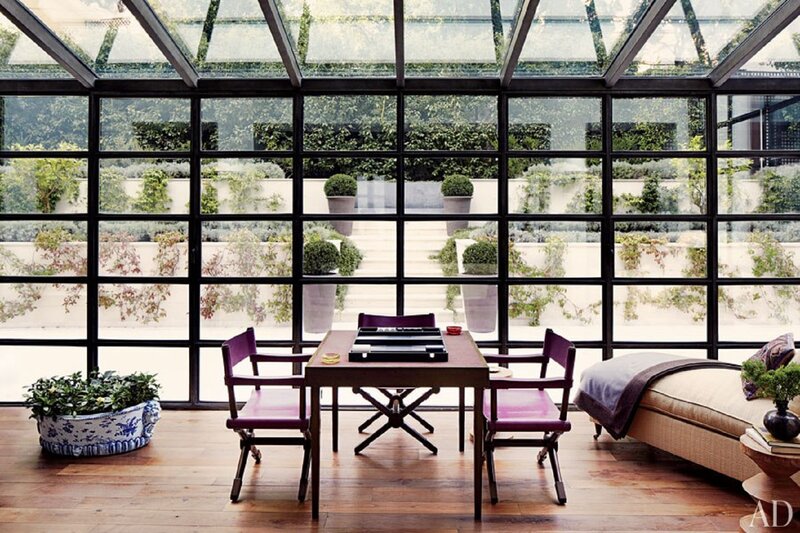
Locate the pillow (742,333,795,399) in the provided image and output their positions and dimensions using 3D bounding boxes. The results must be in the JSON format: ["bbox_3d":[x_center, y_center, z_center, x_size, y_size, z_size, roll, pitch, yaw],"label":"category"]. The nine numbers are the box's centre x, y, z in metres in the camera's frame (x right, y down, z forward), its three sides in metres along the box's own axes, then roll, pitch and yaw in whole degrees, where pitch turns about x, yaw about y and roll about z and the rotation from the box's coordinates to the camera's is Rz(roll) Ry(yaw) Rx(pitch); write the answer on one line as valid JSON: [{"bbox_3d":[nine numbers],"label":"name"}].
[{"bbox_3d":[3.314,0.909,6.730,0.130,0.415,0.430,35,29,-5],"label":"pillow"}]

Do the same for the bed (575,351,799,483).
[{"bbox_3d":[2.665,1.295,7.266,1.108,0.820,1.577,-2,11,-39],"label":"bed"}]

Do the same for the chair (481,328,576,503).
[{"bbox_3d":[1.183,1.352,7.008,0.805,1.510,1.074,0,2,6],"label":"chair"}]

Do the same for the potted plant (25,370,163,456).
[{"bbox_3d":[-3.317,1.599,7.776,1.324,0.732,1.346,-5,-11,10],"label":"potted plant"}]
